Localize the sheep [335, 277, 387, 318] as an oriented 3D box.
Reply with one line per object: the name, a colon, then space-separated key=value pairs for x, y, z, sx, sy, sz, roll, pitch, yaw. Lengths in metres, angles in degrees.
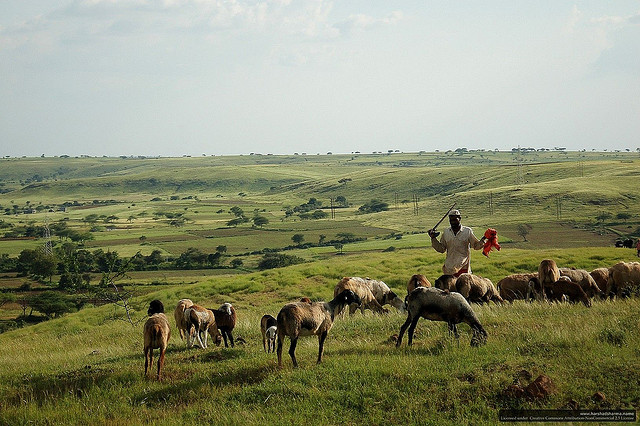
sheep: x=2.495 y=4.051 z=26.819 sx=3.645 sy=1.874 sz=0.997 roll=4 pitch=-14 yaw=5

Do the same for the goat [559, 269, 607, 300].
goat: x=12.224 y=3.395 z=26.211 sx=2.550 sy=1.490 sz=1.558 roll=-2 pitch=1 yaw=-30

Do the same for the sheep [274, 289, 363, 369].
sheep: x=-0.013 y=3.985 z=20.019 sx=3.801 sy=2.445 sz=1.091 roll=3 pitch=-10 yaw=-36

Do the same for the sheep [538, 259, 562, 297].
sheep: x=10.285 y=2.617 z=25.267 sx=0.614 sy=1.045 sz=2.090 roll=1 pitch=0 yaw=15
